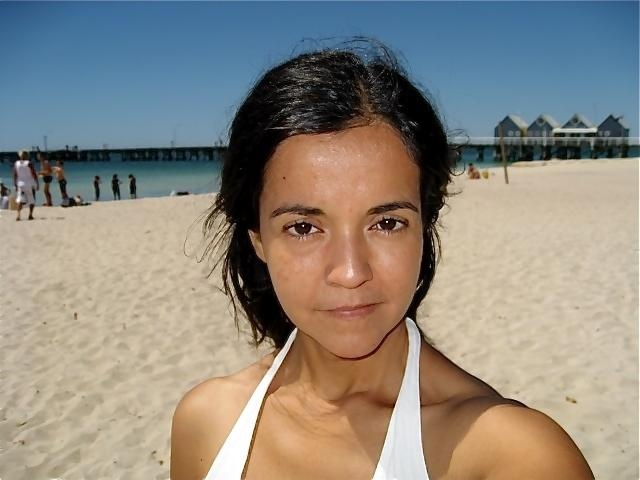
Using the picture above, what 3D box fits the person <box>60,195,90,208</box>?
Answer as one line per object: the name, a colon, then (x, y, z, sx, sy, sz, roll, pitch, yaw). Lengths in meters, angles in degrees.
person: (-9.147, -1.395, 20.622, 0.753, 0.377, 1.334, 0, 5, 13)
